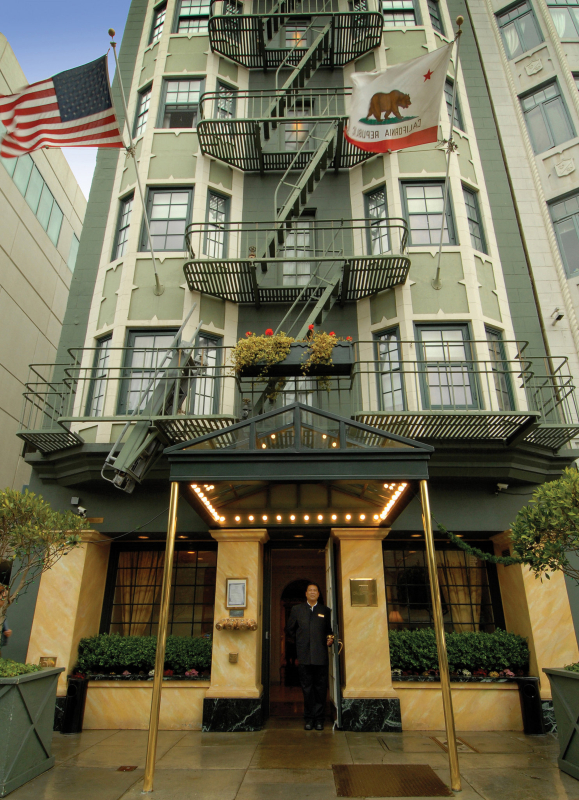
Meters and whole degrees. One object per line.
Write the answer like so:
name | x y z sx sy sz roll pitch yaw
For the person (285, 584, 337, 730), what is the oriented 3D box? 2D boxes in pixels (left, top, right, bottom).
person | 0.309 3.696 7.389 0.670 1.862 0.491 0 -23 -2

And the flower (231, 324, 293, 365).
flower | -0.452 -0.892 8.580 0.804 0.421 0.647 -11 7 19

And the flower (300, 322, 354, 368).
flower | 0.658 -0.922 8.600 0.782 0.380 0.768 -6 16 -43

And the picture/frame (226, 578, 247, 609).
picture/frame | -0.830 3.055 7.971 0.405 0.550 0.059 0 -33 -1
